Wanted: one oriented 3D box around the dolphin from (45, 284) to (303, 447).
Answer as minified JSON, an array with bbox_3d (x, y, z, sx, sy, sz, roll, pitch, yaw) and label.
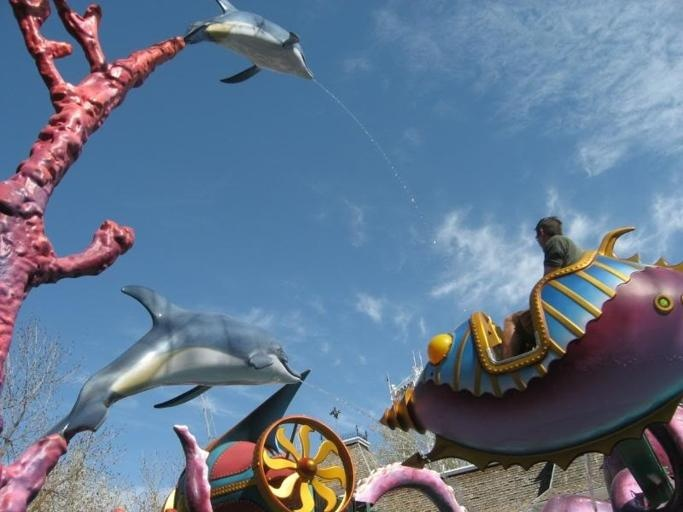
[{"bbox_3d":[-1.671,1.134,6.190,3.129,1.489,1.658,8,-25,-42],"label":"dolphin"}]
